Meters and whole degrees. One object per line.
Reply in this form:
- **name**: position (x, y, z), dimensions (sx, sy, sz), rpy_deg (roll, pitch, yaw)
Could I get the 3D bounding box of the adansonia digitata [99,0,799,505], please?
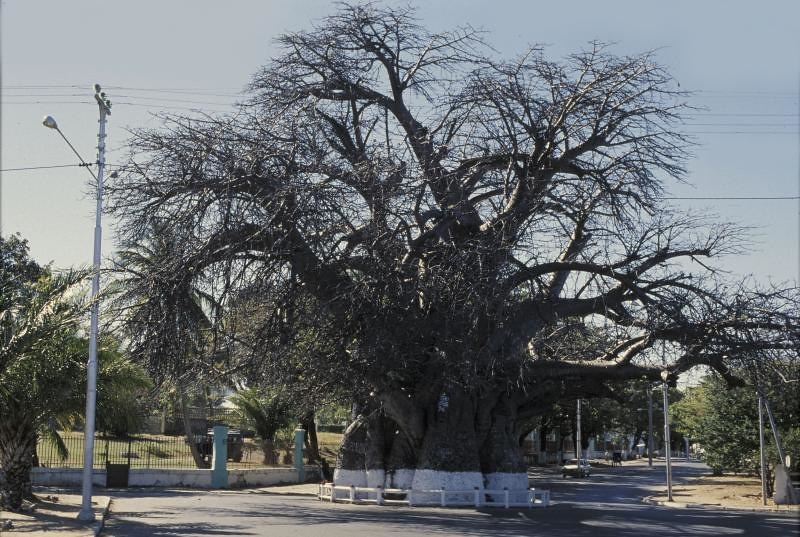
- **adansonia digitata**: position (0.270, -0.116, 36.740), dimensions (23.786, 17.209, 18.788), rpy_deg (1, -8, -1)
